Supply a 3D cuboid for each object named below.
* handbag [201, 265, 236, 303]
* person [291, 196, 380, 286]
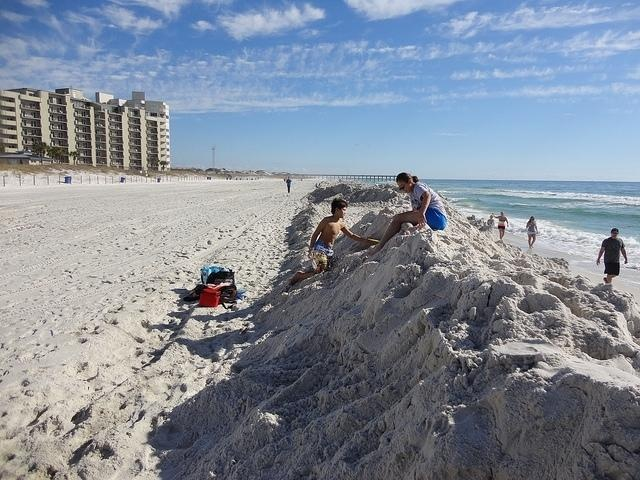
[{"bbox_3d":[-1.937,0.823,7.903,0.543,0.746,0.778,2,-8,32],"label":"handbag"},{"bbox_3d":[0.145,0.087,7.199,1.387,1.638,0.466,5,11,11],"label":"person"}]
